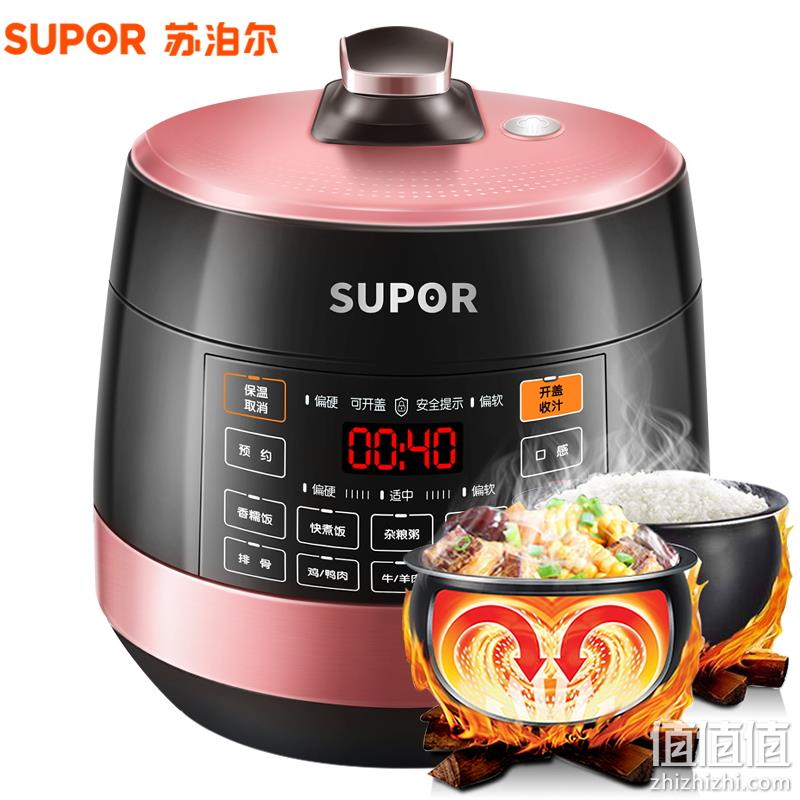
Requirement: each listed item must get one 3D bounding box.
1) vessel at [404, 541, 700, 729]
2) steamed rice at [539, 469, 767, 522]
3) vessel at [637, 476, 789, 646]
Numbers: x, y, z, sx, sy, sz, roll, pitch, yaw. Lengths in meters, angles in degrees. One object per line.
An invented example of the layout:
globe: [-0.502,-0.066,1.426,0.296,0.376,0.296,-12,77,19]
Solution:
vessel: [0.137,0.252,0.850,0.252,0.120,0.236,17,-28,-38]
steamed rice: [0.292,0.106,0.987,0.222,0.038,0.199,0,3,31]
vessel: [0.334,0.164,0.979,0.187,0.138,0.165,5,18,26]
